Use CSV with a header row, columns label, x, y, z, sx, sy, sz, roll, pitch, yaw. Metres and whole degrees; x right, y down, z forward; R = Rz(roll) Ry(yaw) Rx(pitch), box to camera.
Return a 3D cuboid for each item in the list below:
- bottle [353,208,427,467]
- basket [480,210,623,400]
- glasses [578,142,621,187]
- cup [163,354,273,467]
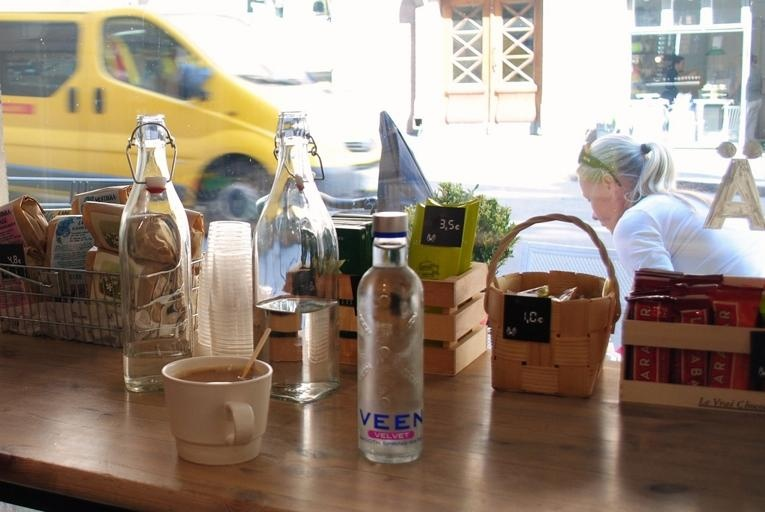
label,x,y,z,sx,sy,sz,roll,pitch,yaw
bottle,0.008,0.126,0.993,0.102,0.382,0.066,-1,12,2
basket,0.269,0.073,1.266,0.308,0.356,0.327,2,10,13
glasses,0.825,-0.345,2.536,0.174,0.062,0.138,31,-18,-12
cup,-0.274,0.227,1.042,0.145,0.109,0.177,-5,9,-39
